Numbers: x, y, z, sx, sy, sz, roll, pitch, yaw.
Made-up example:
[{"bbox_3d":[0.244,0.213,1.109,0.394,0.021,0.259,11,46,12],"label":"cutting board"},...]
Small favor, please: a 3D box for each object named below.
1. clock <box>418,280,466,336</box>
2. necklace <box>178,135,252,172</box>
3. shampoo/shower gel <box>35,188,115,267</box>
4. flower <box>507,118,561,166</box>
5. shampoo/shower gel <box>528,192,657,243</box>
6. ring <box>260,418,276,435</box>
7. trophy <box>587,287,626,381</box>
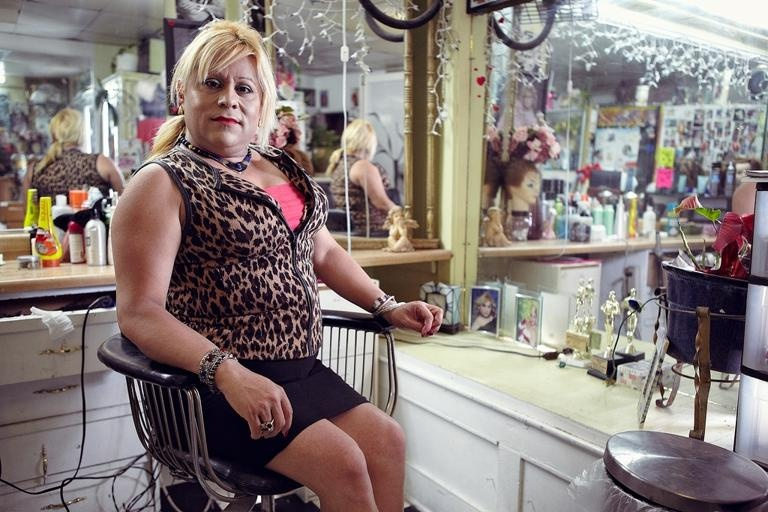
[{"bbox_3d":[0.287,0.258,2.776,0.154,0.247,0.197,-3,11,-34],"label":"clock"},{"bbox_3d":[-0.515,-0.295,1.647,0.148,0.053,0.144,25,2,-3],"label":"necklace"},{"bbox_3d":[-1.377,-0.116,2.506,0.250,0.281,0.312,-7,13,-26],"label":"shampoo/shower gel"},{"bbox_3d":[0.692,-0.528,2.529,0.183,0.182,0.119,-6,16,30],"label":"flower"},{"bbox_3d":[0.903,-0.155,2.262,0.103,0.159,0.379,-6,6,-38],"label":"shampoo/shower gel"},{"bbox_3d":[-0.288,0.421,1.344,0.044,0.021,0.059,-1,-2,-14],"label":"ring"},{"bbox_3d":[0.924,0.325,2.214,0.129,0.359,0.148,-2,5,-19],"label":"trophy"}]
